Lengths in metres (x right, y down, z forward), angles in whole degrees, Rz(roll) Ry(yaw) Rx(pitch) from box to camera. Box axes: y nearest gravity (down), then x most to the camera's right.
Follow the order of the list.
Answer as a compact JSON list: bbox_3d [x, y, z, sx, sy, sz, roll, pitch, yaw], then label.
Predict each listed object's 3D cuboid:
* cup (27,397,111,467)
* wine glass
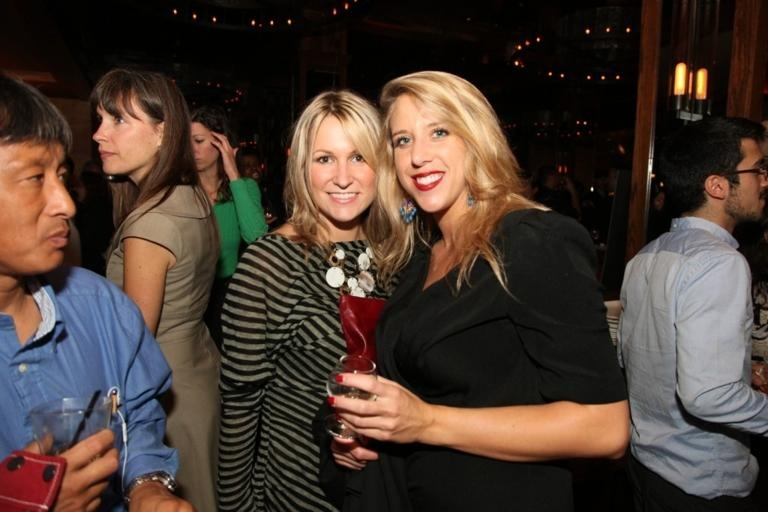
[{"bbox_3d":[-1.134,0.624,2.125,0.233,0.173,0.210,-1,5,-8],"label":"cup"},{"bbox_3d":[-0.145,0.607,2.456,0.187,0.389,0.441,1,-1,-9],"label":"wine glass"}]
